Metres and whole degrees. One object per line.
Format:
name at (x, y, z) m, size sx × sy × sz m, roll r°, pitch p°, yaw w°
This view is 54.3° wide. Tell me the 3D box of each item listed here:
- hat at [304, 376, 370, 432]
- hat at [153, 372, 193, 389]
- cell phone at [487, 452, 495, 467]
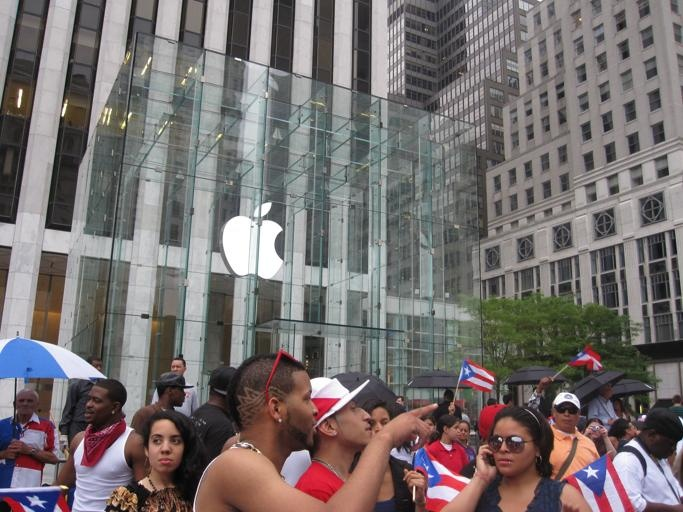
hat at (-0.044, 1.273, 5.929) m, size 0.480 × 0.160 × 0.359 m, roll -31°, pitch -1°, yaw 12°
hat at (-2.460, 1.858, 9.849) m, size 0.493 × 0.188 × 0.354 m, roll 6°, pitch -11°, yaw -18°
cell phone at (1.483, 2.009, 6.580) m, size 0.031 × 0.104 × 0.101 m, roll -5°, pitch 12°, yaw -18°
